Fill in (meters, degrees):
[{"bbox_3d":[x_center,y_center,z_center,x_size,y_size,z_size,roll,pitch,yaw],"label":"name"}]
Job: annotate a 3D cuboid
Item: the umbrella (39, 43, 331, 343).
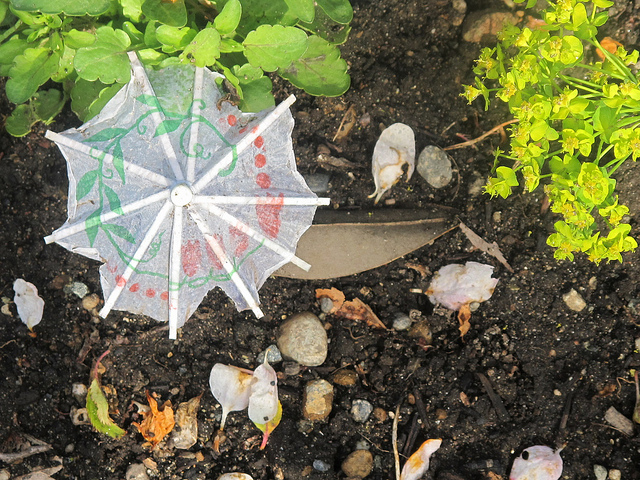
[{"bbox_3d":[-0.785,-0.231,4.500,1.430,0.877,1.379,-15,77,-2],"label":"umbrella"}]
